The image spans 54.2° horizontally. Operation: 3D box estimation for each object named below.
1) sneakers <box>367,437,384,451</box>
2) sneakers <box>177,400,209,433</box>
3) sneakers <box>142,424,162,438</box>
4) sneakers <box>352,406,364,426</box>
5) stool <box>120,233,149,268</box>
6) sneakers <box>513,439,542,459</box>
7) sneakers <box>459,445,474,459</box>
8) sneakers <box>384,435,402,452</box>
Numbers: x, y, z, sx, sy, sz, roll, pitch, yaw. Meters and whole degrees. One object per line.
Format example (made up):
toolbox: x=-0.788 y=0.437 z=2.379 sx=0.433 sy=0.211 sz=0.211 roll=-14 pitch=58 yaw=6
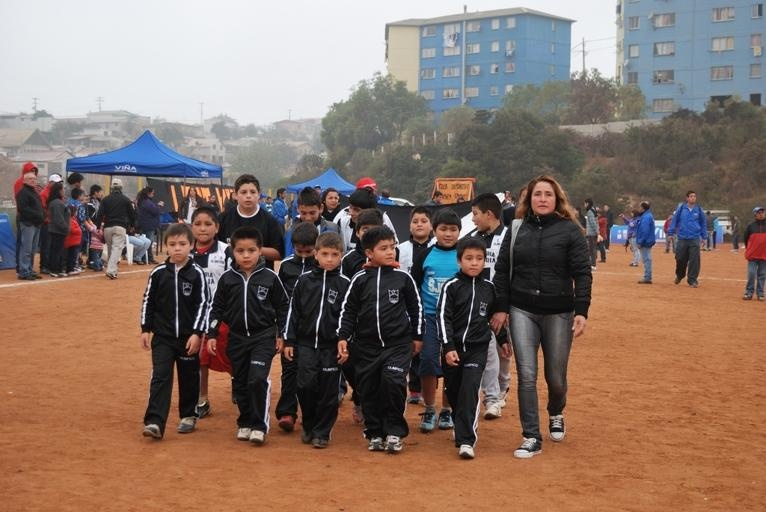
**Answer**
sneakers: x=-0.080 y=2.037 z=8.150 sx=0.108 sy=0.081 sz=0.190 roll=1 pitch=4 yaw=3
sneakers: x=-2.213 y=1.871 z=8.739 sx=0.143 sy=0.182 sz=0.454 roll=11 pitch=15 yaw=11
sneakers: x=-2.500 y=1.899 z=8.159 sx=0.105 sy=0.113 sz=0.243 roll=14 pitch=-9 yaw=-3
sneakers: x=-0.306 y=1.909 z=9.007 sx=0.097 sy=0.116 sz=0.268 roll=2 pitch=7 yaw=-2
stool: x=-7.168 y=-0.156 z=21.556 sx=0.921 sy=1.159 sz=0.868 roll=-2 pitch=0 yaw=17
sneakers: x=1.529 y=2.049 z=8.014 sx=0.132 sy=0.167 sz=0.396 roll=-5 pitch=-13 yaw=33
sneakers: x=0.885 y=2.055 z=7.984 sx=0.161 sy=0.155 sz=0.195 roll=3 pitch=10 yaw=8
sneakers: x=0.109 y=2.012 z=8.088 sx=0.117 sy=0.101 sz=0.226 roll=3 pitch=2 yaw=5
